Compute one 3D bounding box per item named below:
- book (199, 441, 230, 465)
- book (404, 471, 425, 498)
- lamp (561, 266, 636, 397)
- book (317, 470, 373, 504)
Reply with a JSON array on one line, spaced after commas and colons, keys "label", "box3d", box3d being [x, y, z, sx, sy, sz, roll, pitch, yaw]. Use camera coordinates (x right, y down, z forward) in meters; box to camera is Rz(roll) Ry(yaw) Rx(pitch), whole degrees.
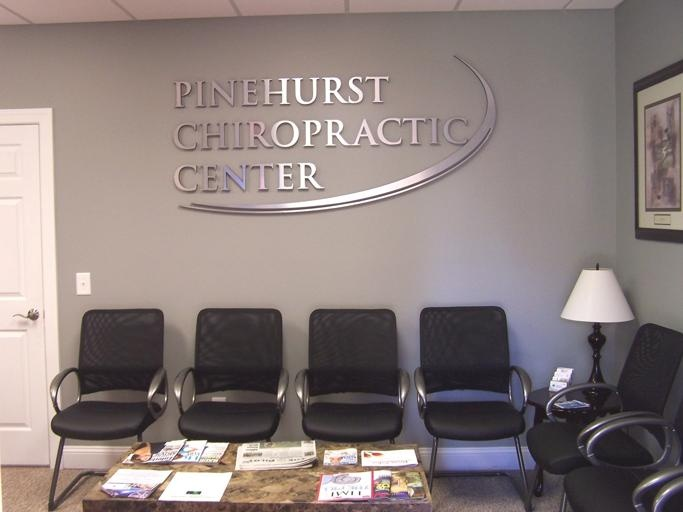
[{"label": "book", "box3d": [-0.789, 1.227, 3.458, 0.149, 0.056, 0.209, -2, 4, 2]}, {"label": "book", "box3d": [0.427, 1.319, 3.201, 0.065, 0.032, 0.150, 1, 7, -2]}, {"label": "lamp", "box3d": [1.842, 0.490, 3.990, 0.604, 0.843, 0.416, -6, 6, -36]}, {"label": "book", "box3d": [0.023, 1.331, 3.197, 0.323, 0.081, 0.193, -3, 4, -3]}]
